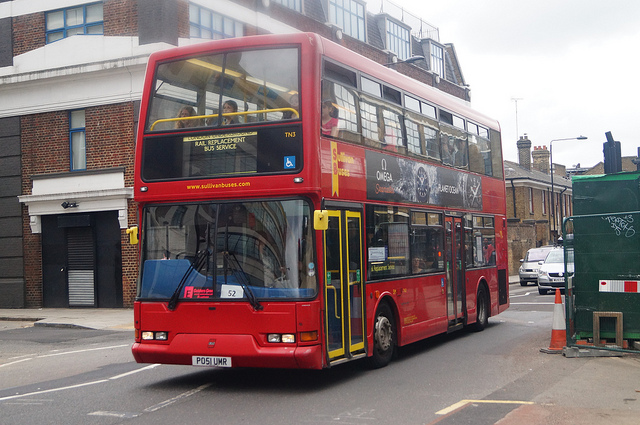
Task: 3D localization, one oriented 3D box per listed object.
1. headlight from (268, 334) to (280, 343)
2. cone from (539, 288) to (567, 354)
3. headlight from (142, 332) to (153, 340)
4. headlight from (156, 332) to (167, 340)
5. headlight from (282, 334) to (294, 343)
[{"bbox_3d":[-0.787,2.122,10.712,0.197,0.140,0.110,0,-1,7],"label":"headlight"},{"bbox_3d":[5.179,2.324,13.881,0.519,1.387,0.582,-6,0,-8],"label":"cone"},{"bbox_3d":[-3.113,2.197,11.427,0.209,0.120,0.146,1,8,10],"label":"headlight"},{"bbox_3d":[-2.848,2.199,11.351,0.207,0.199,0.117,-1,-10,1],"label":"headlight"},{"bbox_3d":[-0.548,2.122,10.660,0.211,0.159,0.121,0,-1,15],"label":"headlight"}]
